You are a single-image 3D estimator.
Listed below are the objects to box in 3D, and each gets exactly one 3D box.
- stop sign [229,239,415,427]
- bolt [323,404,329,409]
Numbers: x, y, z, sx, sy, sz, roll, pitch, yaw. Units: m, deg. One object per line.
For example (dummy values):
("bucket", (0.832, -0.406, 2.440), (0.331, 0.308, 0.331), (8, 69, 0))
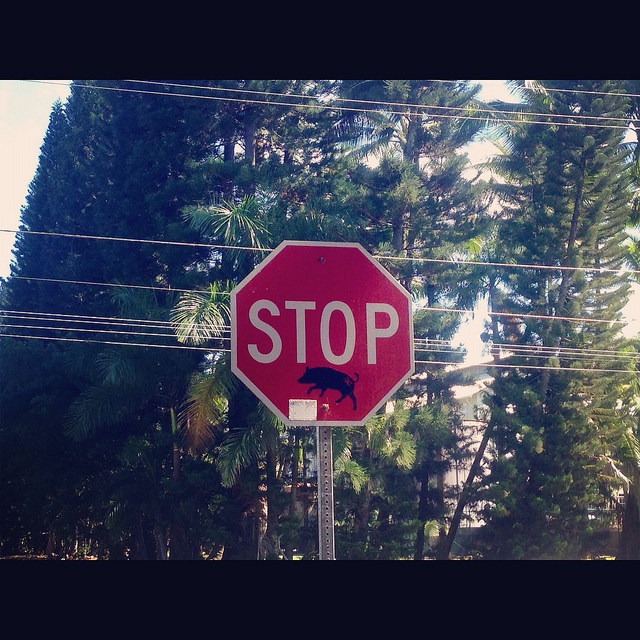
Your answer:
("stop sign", (0.014, 0.107, 11.877), (1.456, 0.210, 1.448), (4, 83, 2))
("bolt", (0.043, 0.679, 11.837), (0.045, 0.009, 0.035), (2, 83, 2))
